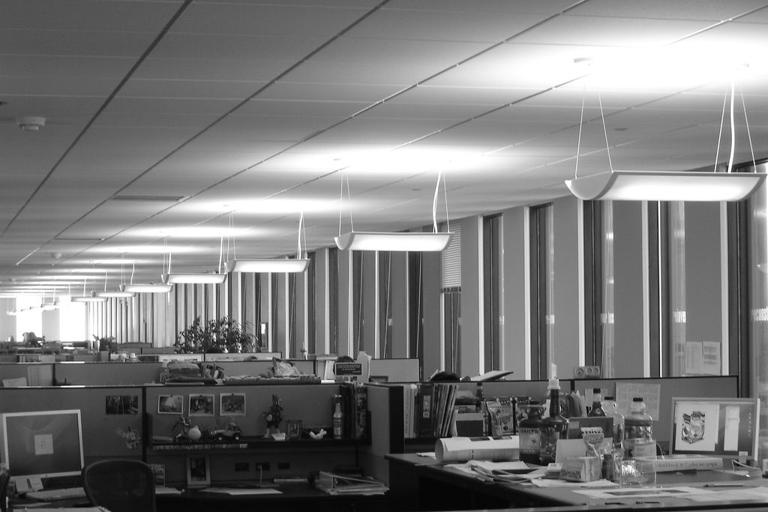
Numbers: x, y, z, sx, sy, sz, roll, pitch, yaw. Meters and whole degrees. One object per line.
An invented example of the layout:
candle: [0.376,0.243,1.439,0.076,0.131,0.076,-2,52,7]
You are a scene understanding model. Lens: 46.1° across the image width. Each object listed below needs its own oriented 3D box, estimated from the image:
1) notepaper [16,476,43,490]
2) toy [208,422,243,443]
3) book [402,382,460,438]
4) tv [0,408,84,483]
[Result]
notepaper: [-2.638,1.699,6.729,0.152,0.105,0.056,9,-12,-39]
toy: [-1.300,1.453,7.391,0.207,0.102,0.136,1,-2,-10]
book: [0.388,1.274,7.427,0.444,0.447,0.146,-2,-9,0]
tv: [-2.565,1.440,6.759,0.558,0.438,0.191,-1,-6,-22]
